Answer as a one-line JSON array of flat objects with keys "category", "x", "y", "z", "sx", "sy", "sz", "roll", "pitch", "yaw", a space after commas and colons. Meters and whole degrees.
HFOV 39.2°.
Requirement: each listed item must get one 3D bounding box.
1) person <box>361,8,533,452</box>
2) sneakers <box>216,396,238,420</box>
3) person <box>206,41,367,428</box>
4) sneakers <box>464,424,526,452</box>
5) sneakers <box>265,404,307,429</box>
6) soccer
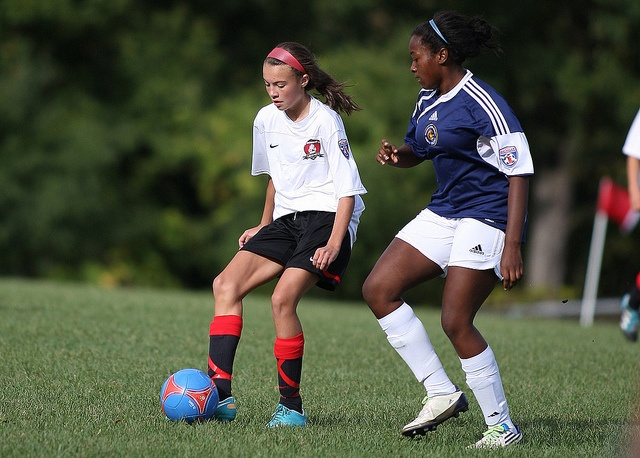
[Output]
[{"category": "person", "x": 1.145, "y": -0.026, "z": 7.620, "sx": 1.254, "sy": 3.581, "sz": 0.617, "roll": 3, "pitch": 7, "yaw": 14}, {"category": "sneakers", "x": -0.818, "y": 1.559, "z": 7.806, "sx": 0.206, "sy": 0.207, "sz": 0.104, "roll": -2, "pitch": 8, "yaw": -28}, {"category": "person", "x": -0.269, "y": 0.007, "z": 7.972, "sx": 1.313, "sy": 3.290, "sz": 1.039, "roll": 2, "pitch": 7, "yaw": 2}, {"category": "sneakers", "x": 1.459, "y": 1.731, "z": 7.574, "sx": 0.495, "sy": 0.215, "sz": 0.180, "roll": -9, "pitch": 7, "yaw": -14}, {"category": "sneakers", "x": -0.300, "y": 1.621, "z": 7.757, "sx": 0.330, "sy": 0.171, "sz": 0.158, "roll": 6, "pitch": -10, "yaw": -28}, {"category": "soccer", "x": -1.117, "y": 1.431, "z": 7.720, "sx": 0.394, "sy": 0.476, "sz": 0.433, "roll": 5, "pitch": -8, "yaw": -2}]
